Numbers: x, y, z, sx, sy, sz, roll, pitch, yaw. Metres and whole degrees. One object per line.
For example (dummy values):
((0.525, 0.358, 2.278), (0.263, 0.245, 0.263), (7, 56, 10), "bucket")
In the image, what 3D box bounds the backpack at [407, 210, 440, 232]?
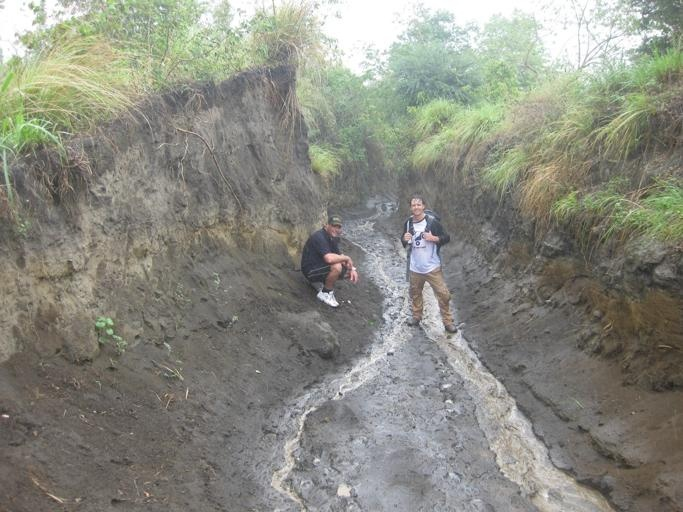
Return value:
((1.414, -0.669, 9.984), (0.419, 0.504, 0.323), (-4, 9, -38), "backpack")

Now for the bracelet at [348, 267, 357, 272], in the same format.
((0.193, 0.251, 10.429), (0.085, 0.072, 0.127), (-2, 0, 4), "bracelet")

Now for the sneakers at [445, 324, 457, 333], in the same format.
((1.945, 1.272, 9.983), (0.227, 0.129, 0.156), (-7, 25, -10), "sneakers")

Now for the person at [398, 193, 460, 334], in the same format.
((1.528, 0.164, 10.013), (0.978, 2.282, 0.591), (11, 26, 28), "person")

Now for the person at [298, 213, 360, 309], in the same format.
((-0.215, 0.079, 10.234), (0.895, 1.654, 0.946), (1, 1, 17), "person")
